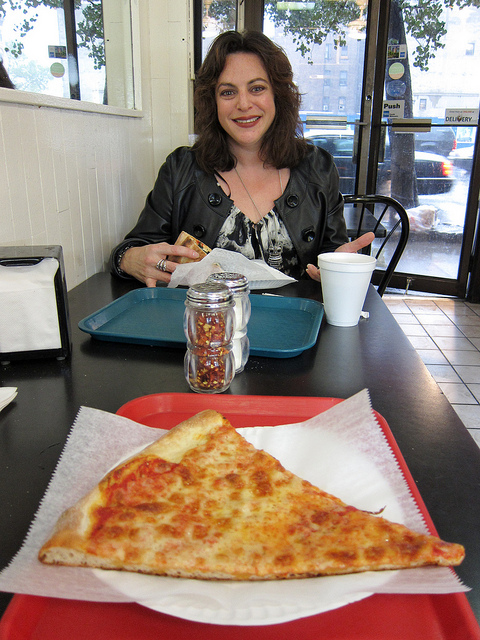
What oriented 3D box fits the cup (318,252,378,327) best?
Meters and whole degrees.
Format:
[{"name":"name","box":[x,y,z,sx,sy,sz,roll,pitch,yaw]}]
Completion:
[{"name":"cup","box":[0.210,-0.067,1.042,0.140,0.151,0.140,0,11,0]}]

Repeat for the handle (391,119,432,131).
[{"name":"handle","box":[1.238,-1.398,3.584,0.230,0.099,0.052,3,7,6]}]

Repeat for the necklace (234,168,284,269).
[{"name":"necklace","box":[0.095,-0.371,1.813,0.144,0.310,0.270,-7,23,-16]}]

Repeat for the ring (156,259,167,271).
[{"name":"ring","box":[-0.205,-0.143,1.306,0.022,0.022,0.008,16,-2,23]}]

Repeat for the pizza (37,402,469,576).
[{"name":"pizza","box":[0.013,0.156,0.502,0.334,0.044,0.236,1,22,2]}]
